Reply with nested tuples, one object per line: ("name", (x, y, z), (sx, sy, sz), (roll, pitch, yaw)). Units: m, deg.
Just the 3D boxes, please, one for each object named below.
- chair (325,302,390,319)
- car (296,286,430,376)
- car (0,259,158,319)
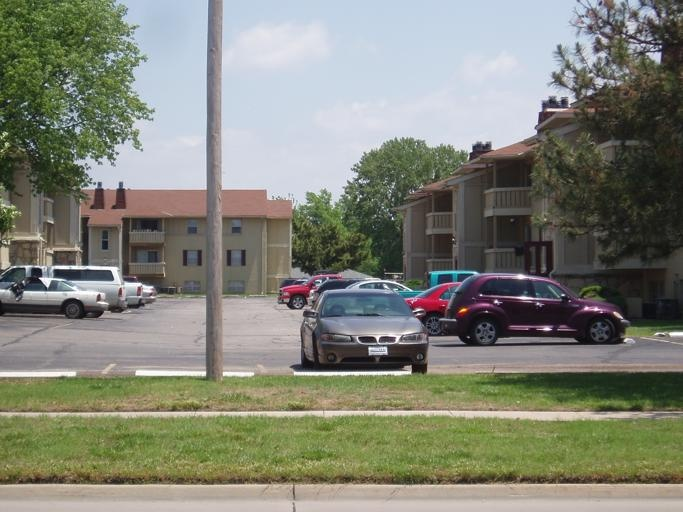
("chair", (0.374, 1.367, 33.138), (1.632, 0.352, 0.243), (-1, 24, -4))
("car", (0.553, 1.941, 33.030), (2.967, 1.957, 2.626), (0, 6, 1))
("car", (-11.163, 1.370, 54.461), (4.573, 1.401, 2.120), (2, 0, 1))
